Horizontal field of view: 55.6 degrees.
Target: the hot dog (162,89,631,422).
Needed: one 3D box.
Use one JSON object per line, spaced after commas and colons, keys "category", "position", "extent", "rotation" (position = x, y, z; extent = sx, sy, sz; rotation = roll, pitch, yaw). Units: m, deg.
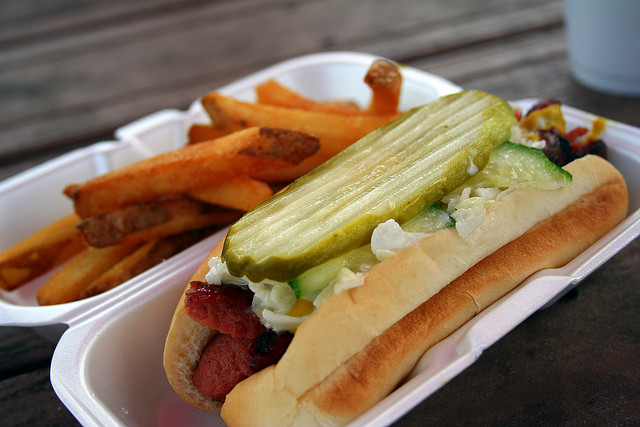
{"category": "hot dog", "position": [0.414, 0.190, 2.555], "extent": [2.073, 0.657, 0.933], "rotation": [-32, 39, -9]}
